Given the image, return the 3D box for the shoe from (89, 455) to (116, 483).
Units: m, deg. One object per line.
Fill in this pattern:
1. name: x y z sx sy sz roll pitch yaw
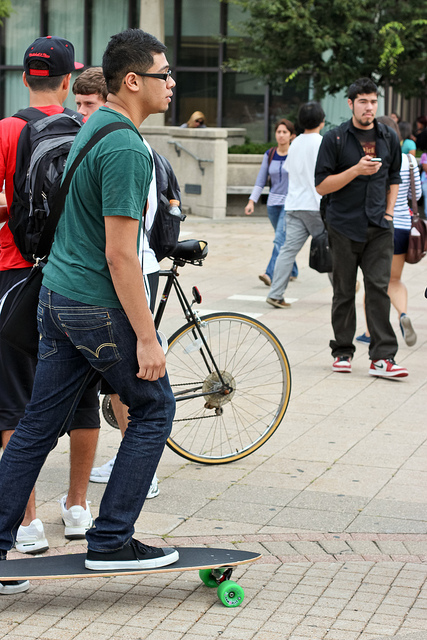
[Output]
1. shoe: -0.576 0.787 3.554 0.115 0.104 0.225 1 3 -9

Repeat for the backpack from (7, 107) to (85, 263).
1. backpack: -0.655 -0.536 2.692 0.270 0.596 0.224 0 4 -15

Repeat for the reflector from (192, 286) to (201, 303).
1. reflector: -0.080 -0.139 3.521 0.022 0.076 0.047 -12 -19 -17

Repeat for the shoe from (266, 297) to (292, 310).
1. shoe: 0.816 -0.201 8.335 0.343 0.136 0.121 7 14 -22

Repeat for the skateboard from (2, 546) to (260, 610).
1. skateboard: -0.265 0.845 2.209 0.877 0.143 0.190 -2 8 -6

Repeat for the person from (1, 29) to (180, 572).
1. person: -0.379 -0.063 2.143 0.523 1.679 0.374 3 4 25

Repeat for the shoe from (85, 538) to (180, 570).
1. shoe: -0.259 0.736 2.199 0.287 0.102 0.105 0 2 -14

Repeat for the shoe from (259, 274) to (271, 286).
1. shoe: 0.716 -0.582 9.478 0.098 0.086 0.210 -22 47 -21

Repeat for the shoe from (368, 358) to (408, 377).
1. shoe: 1.427 0.395 5.600 0.340 0.148 0.127 -2 -2 31

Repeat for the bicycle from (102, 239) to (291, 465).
1. bicycle: 0.115 0.187 3.907 0.629 1.235 1.226 2 4 16

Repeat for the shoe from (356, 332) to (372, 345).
1. shoe: 1.507 0.192 6.792 0.159 0.066 0.056 13 6 39

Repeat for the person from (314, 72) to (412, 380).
1. person: 1.230 -0.731 5.619 0.782 2.432 0.580 2 4 9

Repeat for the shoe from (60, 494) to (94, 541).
1. shoe: -0.552 0.827 2.955 0.142 0.150 0.342 -1 8 -6

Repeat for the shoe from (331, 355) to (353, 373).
1. shoe: 1.119 0.367 5.894 0.182 0.149 0.253 2 4 10
